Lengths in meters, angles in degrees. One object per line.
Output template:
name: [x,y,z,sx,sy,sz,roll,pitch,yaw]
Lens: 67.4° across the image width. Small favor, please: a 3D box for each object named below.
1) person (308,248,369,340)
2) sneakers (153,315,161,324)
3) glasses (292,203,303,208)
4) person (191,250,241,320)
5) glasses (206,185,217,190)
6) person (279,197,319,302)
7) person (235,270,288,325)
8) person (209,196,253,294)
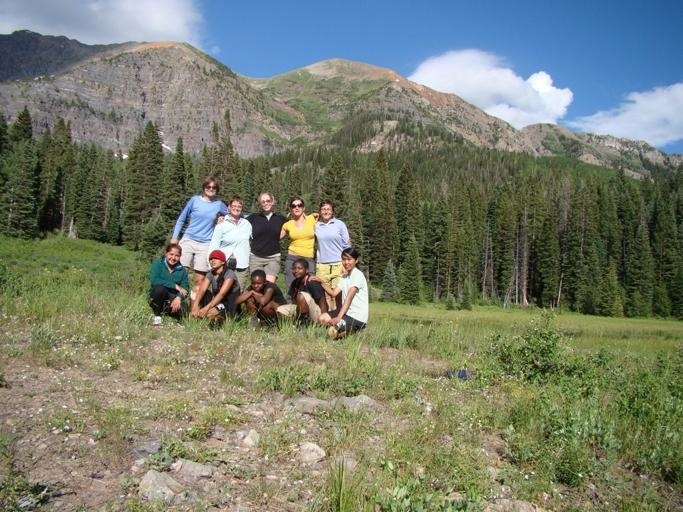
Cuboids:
person: [0.122,0.880,11.959,1.024,2.109,1.122,4,-3,1]
sneakers: [-4.272,1.504,11.931,0.169,0.187,0.123,-3,-12,10]
glasses: [-1.091,-1.231,12.594,0.249,0.103,0.204,5,-3,-7]
person: [-2.923,0.717,12.110,1.066,1.636,0.653,4,-3,-2]
glasses: [-3.228,-1.698,12.662,0.257,0.127,0.184,5,-3,-15]
person: [-1.065,0.042,13.009,1.100,2.862,0.857,-3,17,-6]
person: [-1.879,1.067,12.353,0.721,1.507,1.061,7,10,28]
person: [-2.598,0.050,12.690,1.151,2.991,0.702,1,24,-13]
